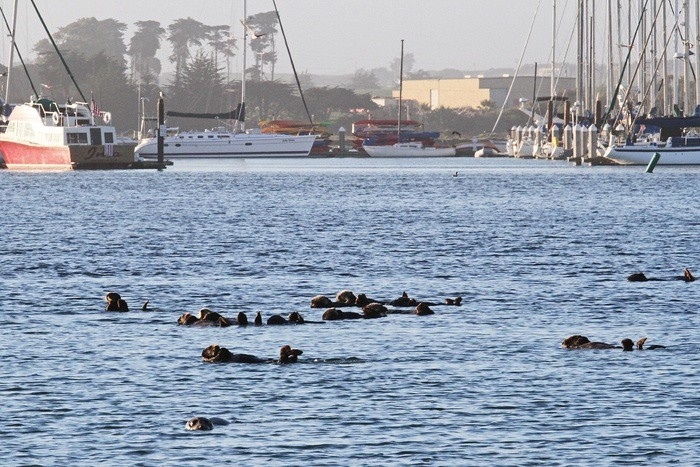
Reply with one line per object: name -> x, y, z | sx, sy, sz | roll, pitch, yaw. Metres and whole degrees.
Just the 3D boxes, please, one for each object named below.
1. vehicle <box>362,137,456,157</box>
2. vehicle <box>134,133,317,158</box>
vehicle -> 6.405, -9.919, 204.730 | 12.270, 2.079, 2.701 | 2, -2, -25
vehicle -> -11.763, -8.388, 170.587 | 13.594, 2.846, 2.917 | -2, 7, -6
